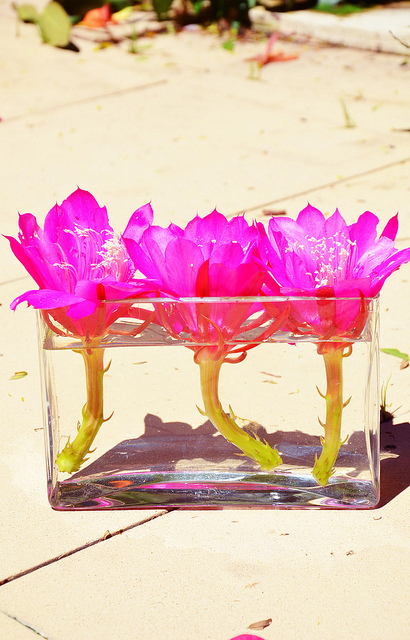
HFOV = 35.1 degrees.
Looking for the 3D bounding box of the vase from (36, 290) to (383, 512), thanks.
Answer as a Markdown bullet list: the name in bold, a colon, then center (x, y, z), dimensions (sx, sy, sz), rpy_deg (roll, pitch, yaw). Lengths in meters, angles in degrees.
- **vase**: center (0.027, 0.083, 0.769), dimensions (0.380, 0.223, 0.188), rpy_deg (-3, -1, 15)
